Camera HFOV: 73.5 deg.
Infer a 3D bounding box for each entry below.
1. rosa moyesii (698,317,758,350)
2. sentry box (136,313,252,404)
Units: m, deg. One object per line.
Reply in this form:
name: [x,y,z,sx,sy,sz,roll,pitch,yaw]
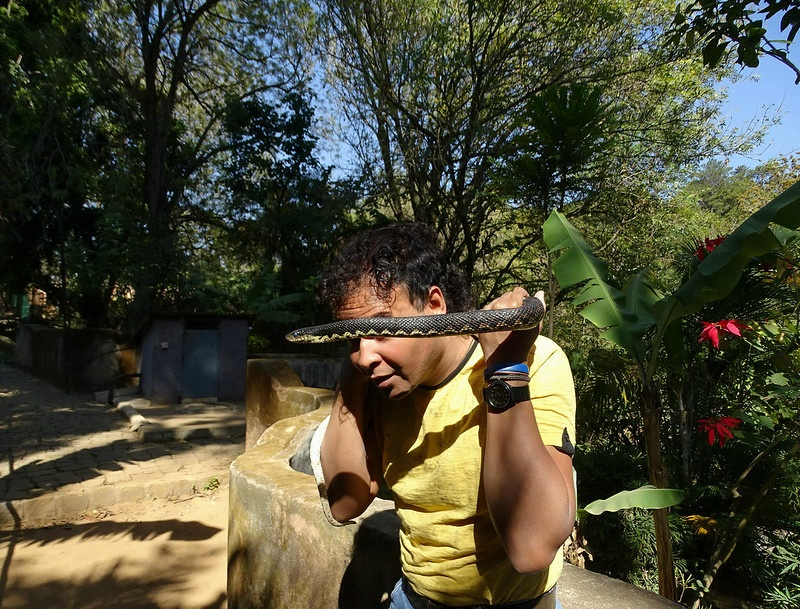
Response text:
rosa moyesii: [2.968,0.264,4.911,0.362,0.261,0.387,4,6,19]
sentry box: [-6.070,1.576,16.090,2.254,2.097,3.170,2,-5,-22]
